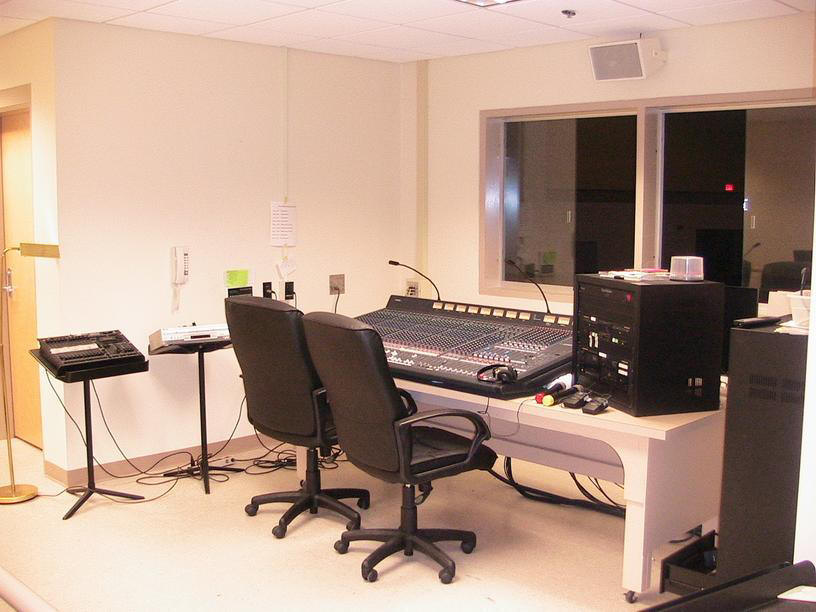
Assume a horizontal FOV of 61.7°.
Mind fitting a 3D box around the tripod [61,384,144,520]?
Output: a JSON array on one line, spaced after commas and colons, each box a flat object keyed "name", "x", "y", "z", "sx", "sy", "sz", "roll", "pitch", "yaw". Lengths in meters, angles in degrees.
[{"name": "tripod", "x": -1.894, "y": 0.794, "z": 4.168, "sx": 0.451, "sy": 0.803, "sz": 0.519, "roll": -5, "pitch": 13, "yaw": -26}]

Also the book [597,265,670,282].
[{"name": "book", "x": 1.053, "y": -0.135, "z": 3.179, "sx": 0.302, "sy": 0.020, "sz": 0.420, "roll": 5, "pitch": 11, "yaw": 22}]

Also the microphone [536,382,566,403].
[{"name": "microphone", "x": 0.678, "y": 0.399, "z": 3.243, "sx": 0.091, "sy": 0.032, "sz": 0.122, "roll": 6, "pitch": 29, "yaw": 37}]

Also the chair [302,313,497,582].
[{"name": "chair", "x": -0.042, "y": 0.723, "z": 3.575, "sx": 0.857, "sy": 1.272, "sz": 0.821, "roll": -1, "pitch": 2, "yaw": -24}]

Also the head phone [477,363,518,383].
[{"name": "head phone", "x": 0.434, "y": 0.330, "z": 3.292, "sx": 0.116, "sy": 0.038, "sz": 0.110, "roll": -8, "pitch": 21, "yaw": -1}]

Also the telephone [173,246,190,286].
[{"name": "telephone", "x": -1.540, "y": -0.262, "z": 4.627, "sx": 0.118, "sy": 0.259, "sz": 0.059, "roll": -6, "pitch": 13, "yaw": -28}]

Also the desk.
[{"name": "desk", "x": 0.924, "y": 0.876, "z": 3.499, "sx": 1.189, "sy": 0.961, "sz": 0.773, "roll": 8, "pitch": 13, "yaw": 33}]
